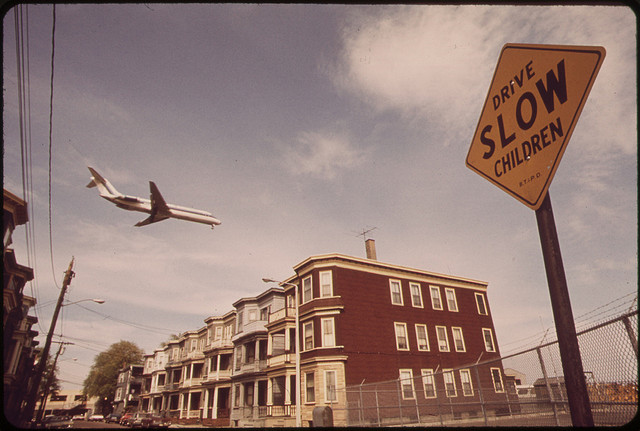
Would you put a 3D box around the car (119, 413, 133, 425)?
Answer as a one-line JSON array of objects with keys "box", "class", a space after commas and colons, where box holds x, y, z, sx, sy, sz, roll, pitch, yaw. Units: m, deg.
[{"box": [-23.985, 24.843, 54.082, 1.736, 1.415, 2.934, 2, -24, -12], "class": "car"}]

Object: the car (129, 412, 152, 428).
[{"box": [-19.527, 22.807, 48.182, 1.860, 0.898, 3.034, 1, -13, -6], "class": "car"}]
